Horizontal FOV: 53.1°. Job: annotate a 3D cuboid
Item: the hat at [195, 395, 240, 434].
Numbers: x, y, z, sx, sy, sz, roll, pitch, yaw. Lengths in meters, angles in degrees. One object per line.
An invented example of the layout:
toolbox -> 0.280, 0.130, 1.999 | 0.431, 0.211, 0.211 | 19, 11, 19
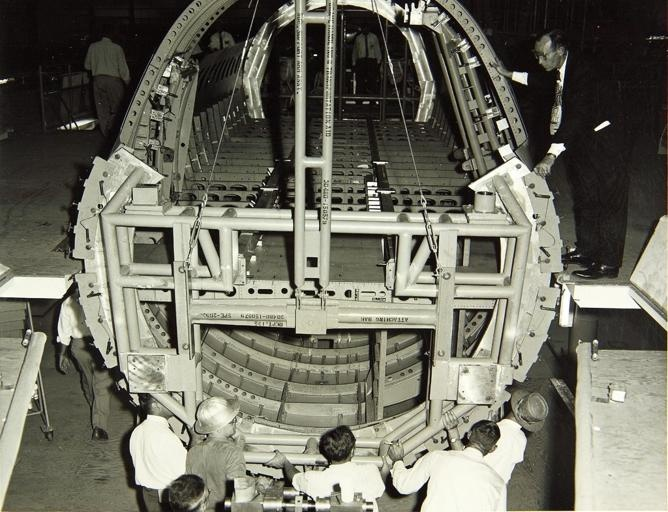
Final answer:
hat -> -0.956, 1.264, 5.373 | 0.313, 0.122, 0.307 | -42, 36, -23

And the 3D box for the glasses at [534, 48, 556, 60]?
glasses -> 1.910, -1.836, 6.159 | 0.102, 0.084, 0.184 | -12, 22, -39

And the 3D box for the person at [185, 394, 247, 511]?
person -> -0.953, 1.611, 5.353 | 0.441, 0.880, 0.444 | -3, 17, -14

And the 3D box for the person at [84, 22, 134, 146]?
person -> -3.630, -2.795, 10.820 | 0.612, 1.821, 0.635 | -8, 19, -29

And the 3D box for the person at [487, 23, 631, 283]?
person -> 2.537, -0.983, 6.738 | 1.397, 2.395, 0.728 | -11, 20, -37

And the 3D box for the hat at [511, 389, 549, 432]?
hat -> 1.596, 1.254, 5.528 | 0.298, 0.132, 0.348 | 21, 53, -19

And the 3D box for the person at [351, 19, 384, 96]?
person -> 0.653, -3.941, 13.457 | 0.586, 1.304, 0.488 | 2, 16, 1

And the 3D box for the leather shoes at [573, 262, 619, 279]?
leather shoes -> 2.713, 0.166, 6.945 | 0.497, 0.206, 0.182 | 2, 8, 1

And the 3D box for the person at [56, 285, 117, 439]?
person -> -2.720, 1.110, 7.338 | 0.536, 1.921, 1.158 | -5, 18, -23

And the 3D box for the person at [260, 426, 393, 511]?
person -> -0.010, 1.691, 5.387 | 0.919, 0.634, 1.119 | -5, -21, -3
